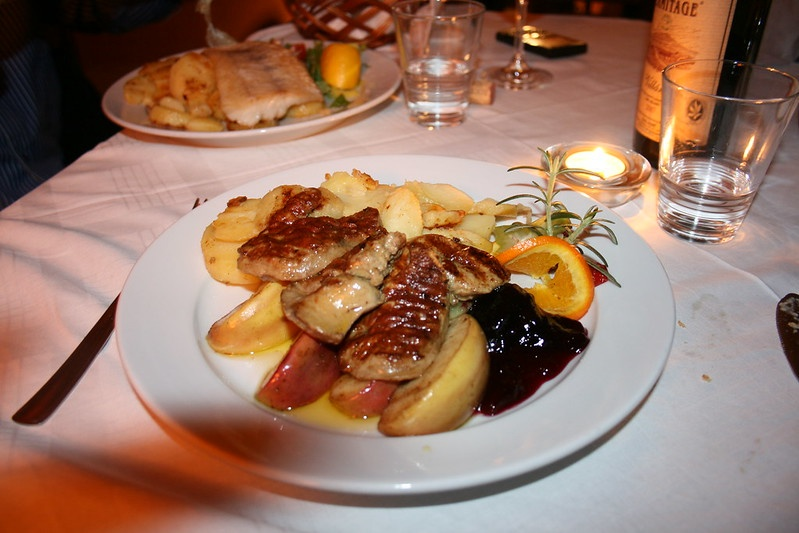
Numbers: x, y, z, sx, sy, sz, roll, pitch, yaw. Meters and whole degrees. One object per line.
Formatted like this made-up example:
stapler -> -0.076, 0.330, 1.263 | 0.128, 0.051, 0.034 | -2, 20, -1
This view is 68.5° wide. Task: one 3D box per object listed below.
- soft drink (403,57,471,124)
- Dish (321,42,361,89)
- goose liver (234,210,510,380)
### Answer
soft drink -> 0.182, -0.837, 2.783 | 0.351, 0.288, 0.386 | 1, 22, 4
Dish -> -0.280, -0.968, 2.820 | 0.199, 0.243, 0.204 | -6, 23, -14
goose liver -> -0.020, 0.076, 1.671 | 0.530, 0.135, 0.518 | -14, 54, -38
